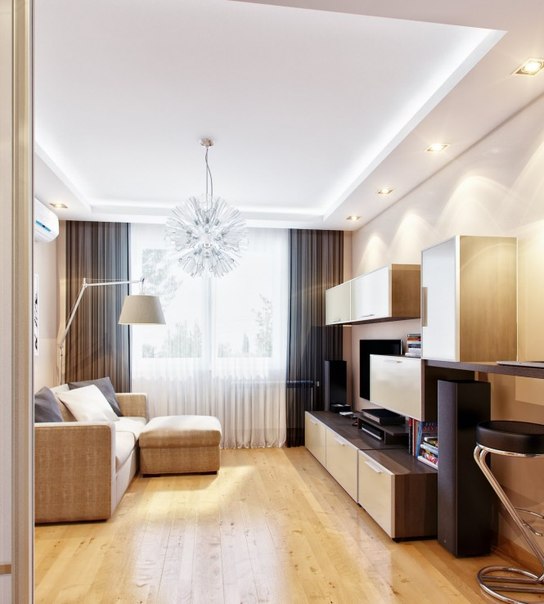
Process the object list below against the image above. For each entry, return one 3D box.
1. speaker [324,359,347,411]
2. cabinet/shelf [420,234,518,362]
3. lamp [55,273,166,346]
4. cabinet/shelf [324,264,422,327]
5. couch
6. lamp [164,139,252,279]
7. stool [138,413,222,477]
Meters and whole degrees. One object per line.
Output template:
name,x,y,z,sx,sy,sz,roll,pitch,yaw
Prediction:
speaker,0.653,0.855,5.200,0.236,0.507,0.309,-1,-2,4
cabinet/shelf,1.152,-0.001,3.103,0.456,1.096,0.700,0,-1,-1
lamp,-1.563,0.067,4.821,0.851,0.686,1.305,1,-4,-26
cabinet/shelf,0.831,-0.038,4.388,0.289,0.402,1.461,0,-4,-12
couch,-1.403,1.087,4.144,0.550,0.737,1.923,0,-4,-6
lamp,-0.480,-0.747,3.649,0.490,1.047,0.511,-5,7,-44
stool,-0.793,1.240,4.377,0.424,0.348,0.497,2,-4,-11
